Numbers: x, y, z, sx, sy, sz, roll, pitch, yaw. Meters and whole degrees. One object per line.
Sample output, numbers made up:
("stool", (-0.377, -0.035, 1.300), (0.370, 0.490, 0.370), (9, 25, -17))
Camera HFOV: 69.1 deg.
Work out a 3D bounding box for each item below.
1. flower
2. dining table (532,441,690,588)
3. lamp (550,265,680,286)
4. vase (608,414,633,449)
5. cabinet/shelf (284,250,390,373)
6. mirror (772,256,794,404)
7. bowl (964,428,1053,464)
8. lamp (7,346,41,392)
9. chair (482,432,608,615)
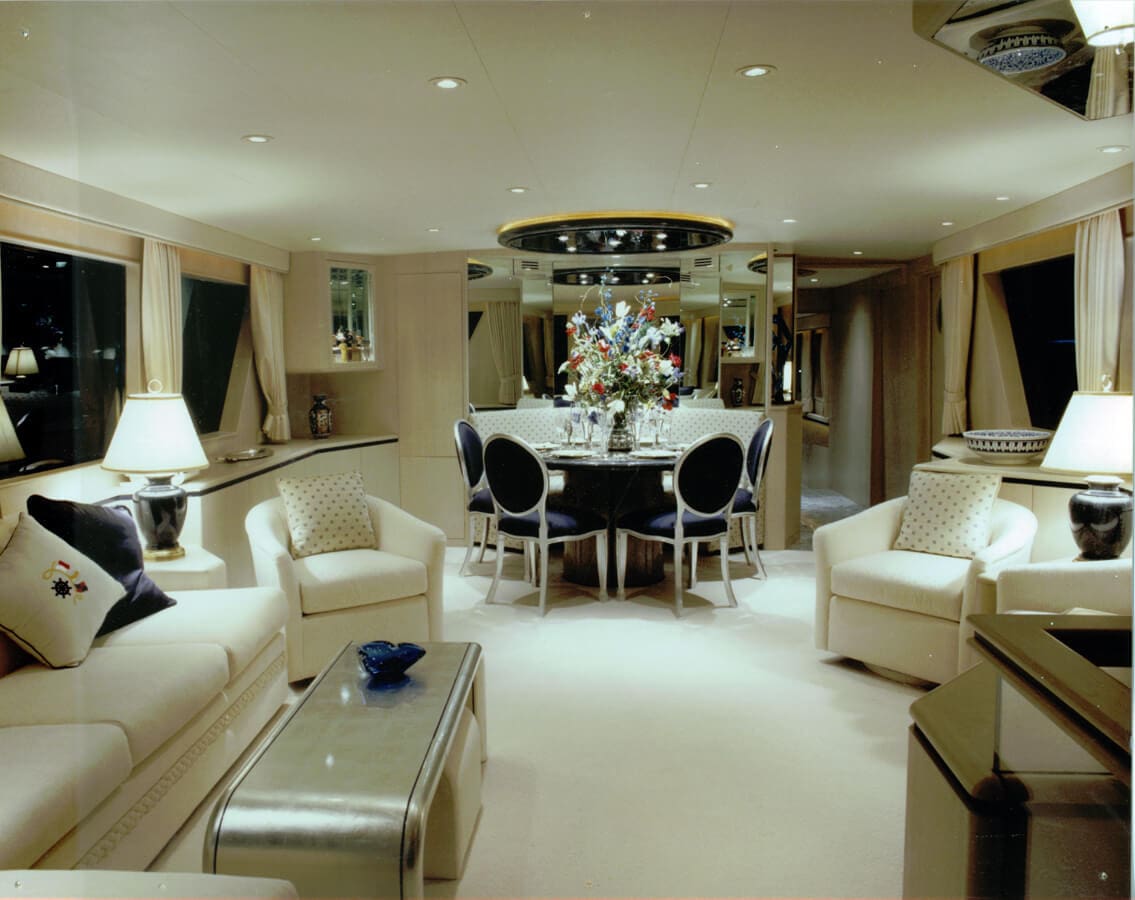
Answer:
("flower", (0.308, -0.565, 5.536), (0.945, 1.161, 0.826), (1, 1, -8))
("dining table", (0.289, 0.378, 5.107), (0.812, 0.648, 0.824), (-1, 1, -26))
("lamp", (0.361, -1.296, 6.167), (0.970, 0.153, 0.065), (0, 8, 6))
("vase", (0.329, -0.113, 5.164), (0.175, 0.325, 0.192), (0, 8, 3))
("cabinet/shelf", (-1.795, -1.035, 6.213), (0.789, 1.252, 0.681), (0, 6, 3))
("mirror", (1.592, -0.876, 6.045), (0.161, 1.069, 0.291), (4, 9, 32))
("bowl", (2.217, -0.008, 4.173), (0.349, 0.156, 0.206), (5, 9, 35))
("lamp", (-2.366, -0.354, 3.580), (0.129, 0.189, 0.133), (2, 21, -18))
("chair", (-0.168, 0.384, 4.864), (0.638, 1.000, 0.649), (-6, 10, -38))
